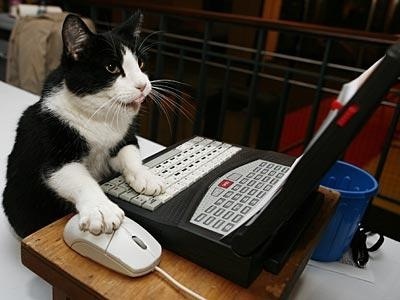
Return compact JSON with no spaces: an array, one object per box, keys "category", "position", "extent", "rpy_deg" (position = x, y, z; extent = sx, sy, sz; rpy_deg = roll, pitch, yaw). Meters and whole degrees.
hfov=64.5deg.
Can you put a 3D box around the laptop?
[{"category":"laptop","position":[0.072,0.023,0.724],"extent":[0.458,0.351,0.421],"rpy_deg":[18,31,28]}]

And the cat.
[{"category":"cat","position":[-0.336,-0.045,1.042],"extent":[0.682,0.498,0.351],"rpy_deg":[-15,-8,43]}]
